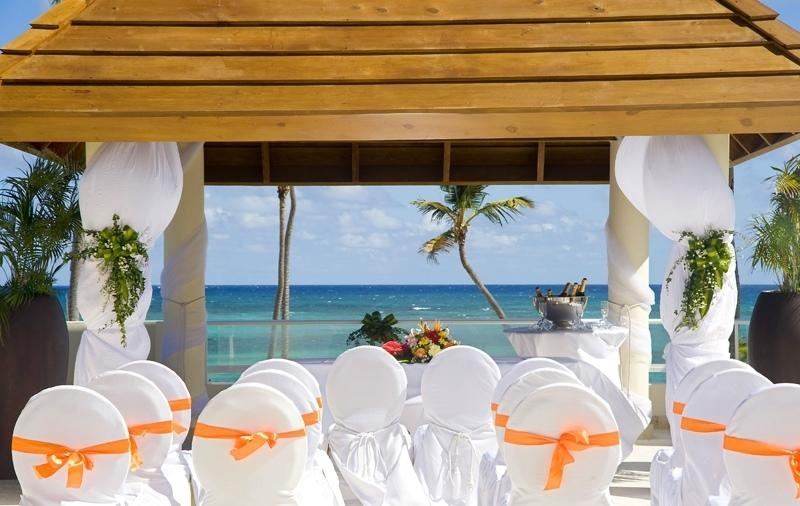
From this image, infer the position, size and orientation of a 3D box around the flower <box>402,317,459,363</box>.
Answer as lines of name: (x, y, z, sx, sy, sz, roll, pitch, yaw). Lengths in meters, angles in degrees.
flower: (0.327, 1.034, 15.784, 0.488, 0.353, 0.497, -7, -9, 40)

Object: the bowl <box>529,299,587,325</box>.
bowl: (1.794, 0.670, 15.422, 0.355, 0.220, 0.368, 1, 0, 0)

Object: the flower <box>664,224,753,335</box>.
flower: (3.248, 0.224, 14.899, 0.565, 0.798, 0.494, 21, -23, 2)

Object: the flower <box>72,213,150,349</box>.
flower: (-3.143, 0.305, 14.999, 0.714, 1.397, 0.253, 2, -7, -12)

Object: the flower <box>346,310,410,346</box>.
flower: (-0.303, 0.901, 16.186, 0.546, 0.431, 0.815, 7, -9, -39)
